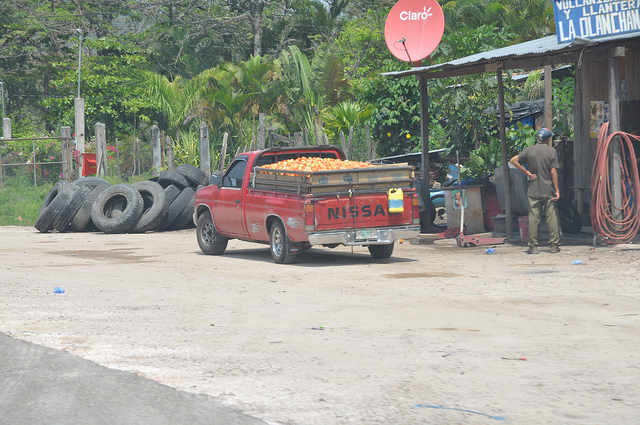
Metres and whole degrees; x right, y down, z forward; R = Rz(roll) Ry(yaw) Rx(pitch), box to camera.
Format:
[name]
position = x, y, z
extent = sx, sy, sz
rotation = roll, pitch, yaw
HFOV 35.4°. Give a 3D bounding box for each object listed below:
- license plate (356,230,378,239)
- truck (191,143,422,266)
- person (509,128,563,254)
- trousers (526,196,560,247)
[license plate]
position = 1.028, 0.475, 22.424
extent = 0.496, 0.168, 0.084
rotation = -1, -1, -27
[truck]
position = -0.587, -0.286, 23.862
extent = 2.720, 1.976, 4.718
rotation = -3, 7, -37
[person]
position = 5.150, -0.533, 23.722
extent = 0.986, 2.732, 1.421
rotation = -2, -1, 10
[trousers]
position = 5.165, 0.198, 23.338
extent = 0.686, 1.098, 0.438
rotation = -2, -1, 11
